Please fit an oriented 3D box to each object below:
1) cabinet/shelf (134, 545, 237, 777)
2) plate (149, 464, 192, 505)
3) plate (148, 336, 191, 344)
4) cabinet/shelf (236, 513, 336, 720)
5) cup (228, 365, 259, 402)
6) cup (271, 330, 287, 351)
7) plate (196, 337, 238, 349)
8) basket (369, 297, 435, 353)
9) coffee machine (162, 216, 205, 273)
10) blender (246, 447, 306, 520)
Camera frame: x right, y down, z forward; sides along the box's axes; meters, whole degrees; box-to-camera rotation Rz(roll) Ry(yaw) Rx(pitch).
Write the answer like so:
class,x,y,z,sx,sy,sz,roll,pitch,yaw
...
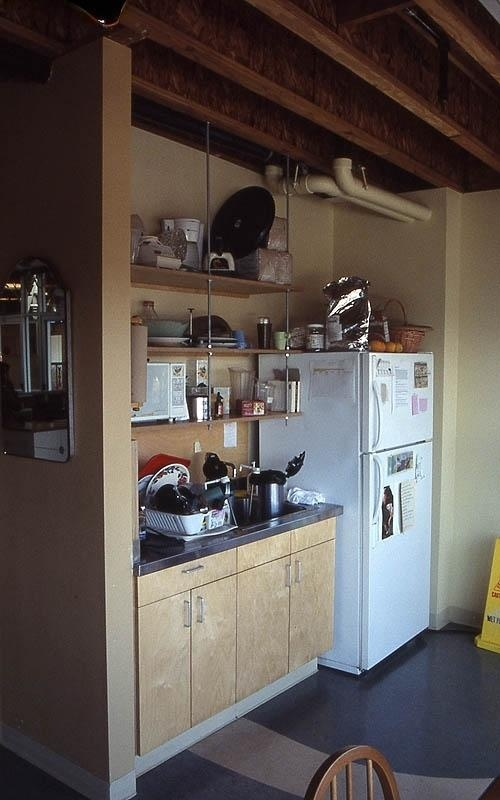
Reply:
class,x,y,z,sx,sy,sz,roll,pitch,yaw
cabinet/shelf,-0.328,0.975,2.450,0.308,0.689,0.598,-5,-8,37
plate,-0.341,0.366,2.701,0.220,0.104,0.146,3,-1,-42
plate,-0.361,-0.264,2.667,0.193,0.045,0.037,3,-1,-38
cabinet/shelf,0.151,1.015,2.832,0.371,0.840,0.730,0,2,36
cup,-0.037,-0.096,3.222,0.141,0.213,0.157,-4,6,-32
cup,0.159,-0.332,3.353,0.084,0.117,0.093,1,-1,0
plate,-0.156,-0.274,2.906,0.070,0.062,0.263,1,-1,43
basket,0.878,-0.419,3.643,0.387,0.338,0.351,-1,2,38
coffee machine,-0.295,-0.710,2.800,0.210,0.343,0.225,-5,11,-21
blender,0.145,0.447,3.099,0.286,0.323,0.234,-1,2,45
